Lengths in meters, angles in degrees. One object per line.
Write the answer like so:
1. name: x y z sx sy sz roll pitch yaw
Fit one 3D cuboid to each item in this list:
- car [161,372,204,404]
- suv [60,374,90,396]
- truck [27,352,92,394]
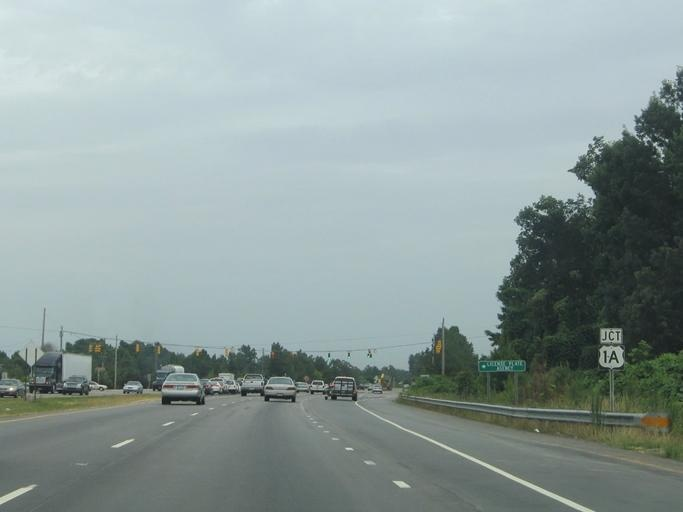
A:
1. car: -8.485 7.260 52.749 2.188 1.767 1.563 3 -13 -13
2. suv: -21.832 10.914 81.269 1.168 1.191 2.351 0 -17 -4
3. truck: -23.421 10.001 83.009 1.804 3.494 6.961 1 -5 15
